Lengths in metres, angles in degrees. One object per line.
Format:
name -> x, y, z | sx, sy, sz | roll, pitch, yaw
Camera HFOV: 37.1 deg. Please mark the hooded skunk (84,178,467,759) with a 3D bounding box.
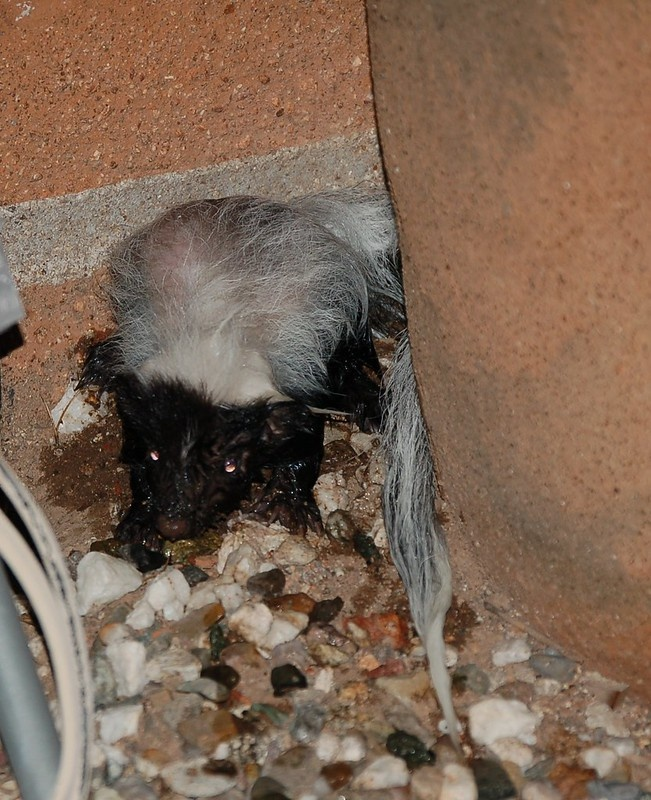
hooded skunk -> -0.143, -0.077, 1.588 | 0.543, 0.374, 0.643 | -6, 38, 6
